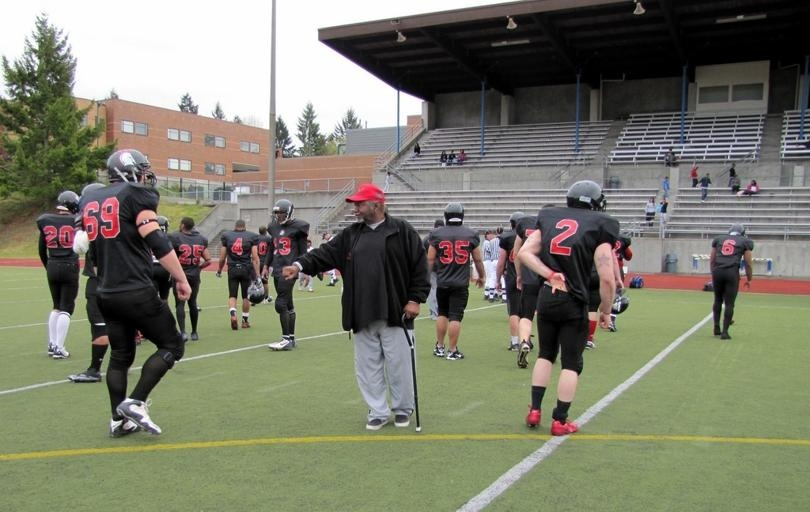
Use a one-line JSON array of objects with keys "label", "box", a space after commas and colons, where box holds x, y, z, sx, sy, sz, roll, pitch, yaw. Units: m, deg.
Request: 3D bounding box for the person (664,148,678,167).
[{"label": "person", "box": [13.367, -4.907, 34.768, 0.600, 0.812, 0.775, 4, 12, 18]}]

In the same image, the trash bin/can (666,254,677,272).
[{"label": "trash bin/can", "box": [11.227, 0.302, 29.646, 0.672, 0.856, 0.724, -1, -1, 23]}]

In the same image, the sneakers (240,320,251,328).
[{"label": "sneakers", "box": [-3.605, 1.528, 15.755, 0.247, 0.223, 0.133, 1, 6, -8]}]

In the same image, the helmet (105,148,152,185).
[{"label": "helmet", "box": [-3.754, -1.224, 9.392, 0.612, 0.428, 0.447, -7, 9, -24]}]

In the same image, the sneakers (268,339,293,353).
[{"label": "sneakers", "box": [-2.425, 1.698, 13.263, 0.532, 0.241, 0.188, 5, -9, -42]}]

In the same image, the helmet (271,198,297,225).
[{"label": "helmet", "box": [-2.381, -0.873, 13.764, 0.411, 0.470, 0.526, 3, 1, 34]}]

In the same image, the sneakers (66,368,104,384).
[{"label": "sneakers", "box": [-5.094, 1.940, 11.201, 0.589, 0.273, 0.214, 5, -9, -6]}]

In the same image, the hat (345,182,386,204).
[{"label": "hat", "box": [-0.528, -0.866, 9.545, 0.464, 0.217, 0.276, 6, 5, -15]}]

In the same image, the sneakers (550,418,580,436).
[{"label": "sneakers", "box": [2.161, 2.293, 9.339, 0.355, 0.142, 0.172, -2, 8, -27]}]

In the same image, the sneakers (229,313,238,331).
[{"label": "sneakers", "box": [-3.779, 1.454, 15.282, 0.161, 0.453, 0.219, 1, 30, -3]}]

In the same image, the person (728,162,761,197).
[{"label": "person", "box": [15.668, -3.407, 31.805, 1.486, 2.130, 0.496, -5, -31, 18]}]

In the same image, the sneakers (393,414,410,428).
[{"label": "sneakers", "box": [-0.040, 2.283, 9.606, 0.147, 0.133, 0.333, 0, -8, 2]}]

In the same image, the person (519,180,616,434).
[{"label": "person", "box": [2.177, 0.686, 9.369, 1.194, 3.334, 0.879, -1, 12, -7]}]

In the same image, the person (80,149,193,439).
[{"label": "person", "box": [-3.604, 0.493, 9.277, 1.250, 3.751, 1.035, 10, 16, 39]}]

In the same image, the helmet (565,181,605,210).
[{"label": "helmet", "box": [2.476, -0.822, 9.604, 0.556, 0.421, 0.426, -20, 22, -38]}]

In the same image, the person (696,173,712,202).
[{"label": "person", "box": [14.066, -3.245, 32.581, 0.404, 1.139, 0.803, 5, 13, 22]}]

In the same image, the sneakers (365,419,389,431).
[{"label": "sneakers", "box": [-0.393, 2.302, 9.510, 0.132, 0.121, 0.348, -3, -11, 25]}]

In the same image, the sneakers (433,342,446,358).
[{"label": "sneakers", "box": [0.644, 1.755, 12.933, 0.221, 0.272, 0.564, 1, -7, 3]}]

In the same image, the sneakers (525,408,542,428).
[{"label": "sneakers", "box": [1.758, 2.225, 9.410, 0.124, 0.134, 0.331, 4, 1, 4]}]
